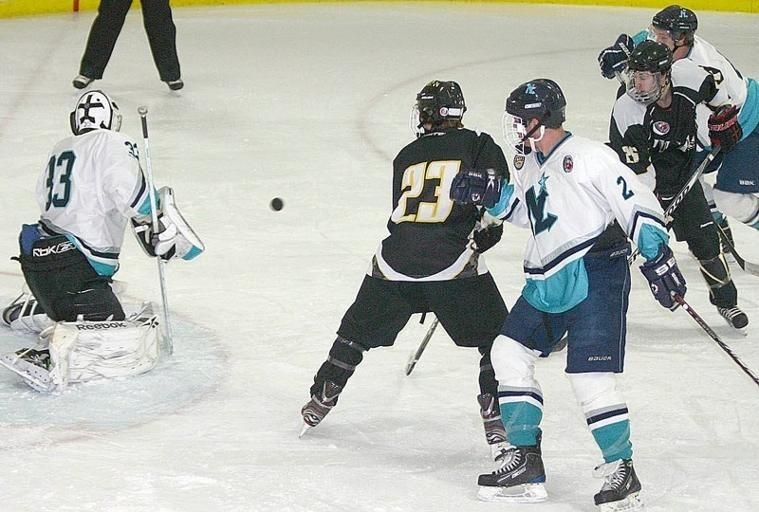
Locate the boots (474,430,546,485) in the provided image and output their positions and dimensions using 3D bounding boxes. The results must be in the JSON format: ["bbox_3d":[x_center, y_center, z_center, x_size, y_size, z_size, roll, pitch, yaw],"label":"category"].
[{"bbox_3d":[0.525,0.805,3.297,0.298,0.205,0.096,-15,-16,30],"label":"boots"}]

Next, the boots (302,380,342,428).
[{"bbox_3d":[-0.249,0.651,3.709,0.233,0.082,0.105,-48,5,-27],"label":"boots"}]

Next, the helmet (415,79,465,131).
[{"bbox_3d":[0.254,-0.641,3.638,0.210,0.217,0.245,-7,15,-24],"label":"helmet"}]

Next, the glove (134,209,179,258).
[{"bbox_3d":[-1.163,-0.098,4.352,0.110,0.252,0.187,-38,-5,-34],"label":"glove"}]

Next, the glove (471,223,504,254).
[{"bbox_3d":[0.454,-0.081,3.631,0.151,0.101,0.054,-36,-5,7],"label":"glove"}]

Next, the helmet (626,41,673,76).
[{"bbox_3d":[1.358,-0.997,4.280,0.215,0.168,0.154,2,9,-4],"label":"helmet"}]

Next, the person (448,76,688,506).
[{"bbox_3d":[0.661,0.135,3.262,0.937,1.510,0.806,9,25,16],"label":"person"}]

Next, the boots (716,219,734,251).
[{"bbox_3d":[2.105,-0.128,5.204,0.083,0.214,0.108,-13,-20,14],"label":"boots"}]

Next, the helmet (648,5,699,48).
[{"bbox_3d":[1.664,-1.323,4.904,0.292,0.255,0.225,3,8,7],"label":"helmet"}]

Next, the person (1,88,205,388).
[{"bbox_3d":[-1.464,-0.101,4.132,0.884,1.251,1.025,20,29,37],"label":"person"}]

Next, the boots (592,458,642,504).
[{"bbox_3d":[0.883,0.840,3.129,0.156,0.159,0.120,8,24,16],"label":"boots"}]

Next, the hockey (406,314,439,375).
[{"bbox_3d":[0.175,0.423,3.982,0.032,0.353,0.116,28,29,-8],"label":"hockey"}]

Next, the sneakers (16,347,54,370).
[{"bbox_3d":[-1.606,0.472,3.978,0.142,0.045,0.105,18,5,5],"label":"sneakers"}]

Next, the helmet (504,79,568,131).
[{"bbox_3d":[0.605,-0.615,3.362,0.256,0.194,0.174,-13,20,5],"label":"helmet"}]

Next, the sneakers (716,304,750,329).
[{"bbox_3d":[1.903,0.324,4.616,0.101,0.067,0.167,-13,28,-16],"label":"sneakers"}]
